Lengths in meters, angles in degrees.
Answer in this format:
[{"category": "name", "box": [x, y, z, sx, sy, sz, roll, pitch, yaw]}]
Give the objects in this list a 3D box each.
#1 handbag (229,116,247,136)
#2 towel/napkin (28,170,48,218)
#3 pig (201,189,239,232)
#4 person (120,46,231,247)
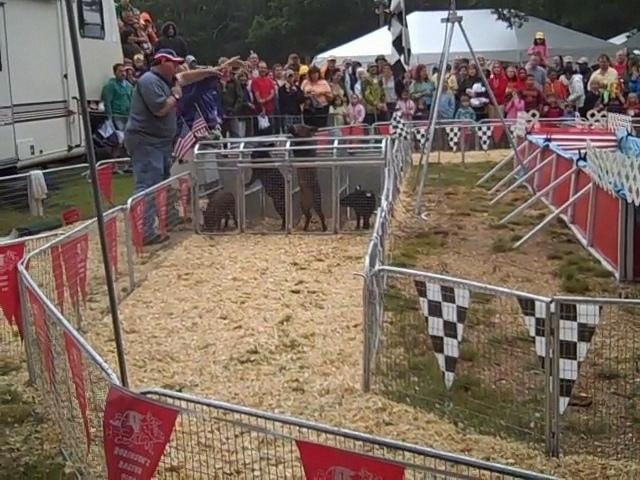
[{"category": "handbag", "box": [-1.635, -2.274, 13.828, 0.249, 0.358, 0.193, -13, 28, -23]}, {"category": "towel/napkin", "box": [-3.588, -0.597, 8.994, 0.117, 0.602, 0.292, 6, 12, 28]}, {"category": "pig", "box": [-1.335, -0.386, 9.537, 0.358, 0.594, 0.167, -3, 11, 0]}, {"category": "person", "box": [-1.926, -1.464, 8.833, 0.857, 3.139, 1.038, 0, 2, -11]}]
